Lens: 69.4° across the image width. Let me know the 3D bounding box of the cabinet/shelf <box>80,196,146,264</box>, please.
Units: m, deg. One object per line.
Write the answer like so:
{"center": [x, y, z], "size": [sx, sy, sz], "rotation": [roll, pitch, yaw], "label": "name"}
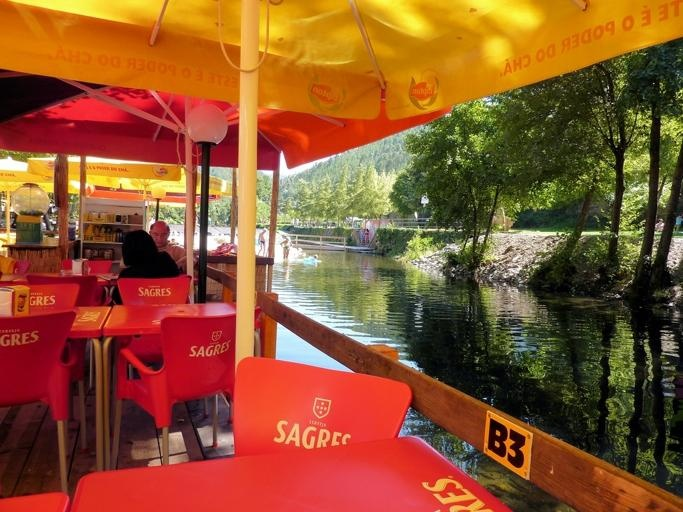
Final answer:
{"center": [-5.068, -0.835, 10.849], "size": [1.146, 0.411, 1.323], "rotation": [7, -43, -33], "label": "cabinet/shelf"}
